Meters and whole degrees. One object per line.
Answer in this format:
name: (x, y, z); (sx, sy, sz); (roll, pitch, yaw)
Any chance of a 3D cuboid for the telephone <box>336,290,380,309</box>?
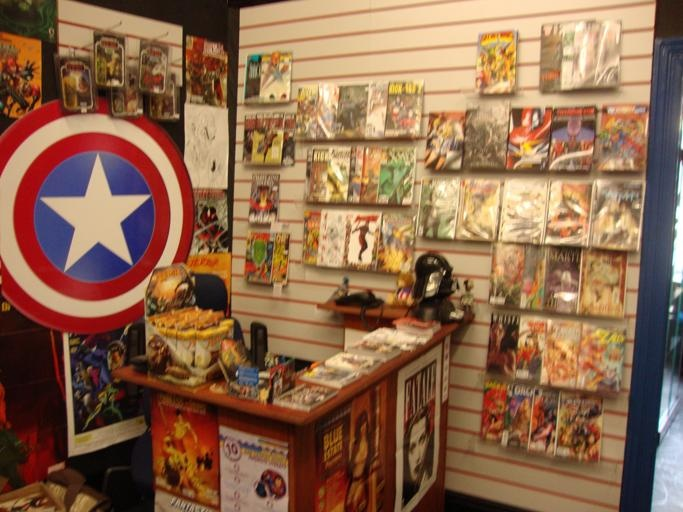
telephone: (0.116, 0.300, 3.643); (0.211, 0.081, 0.135); (4, 10, -4)
